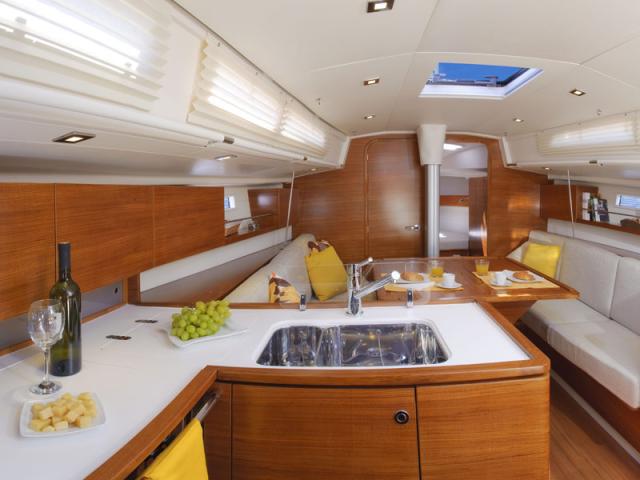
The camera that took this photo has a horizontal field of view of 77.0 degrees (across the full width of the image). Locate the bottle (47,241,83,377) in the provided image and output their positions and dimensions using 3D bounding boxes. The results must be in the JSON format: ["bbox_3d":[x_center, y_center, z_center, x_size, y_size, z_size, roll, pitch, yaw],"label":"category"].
[{"bbox_3d":[-0.926,0.252,1.438,0.128,0.462,0.120,-3,-5,0],"label":"bottle"}]

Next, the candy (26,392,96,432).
[{"bbox_3d":[-0.748,0.503,1.232,0.164,0.073,0.198,3,5,-20],"label":"candy"}]

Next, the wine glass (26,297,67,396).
[{"bbox_3d":[-0.883,0.327,1.311,0.140,0.296,0.156,1,3,22],"label":"wine glass"}]

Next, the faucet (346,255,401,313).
[{"bbox_3d":[0.230,0.214,1.778,0.128,0.249,0.397,3,-8,-26],"label":"faucet"}]
